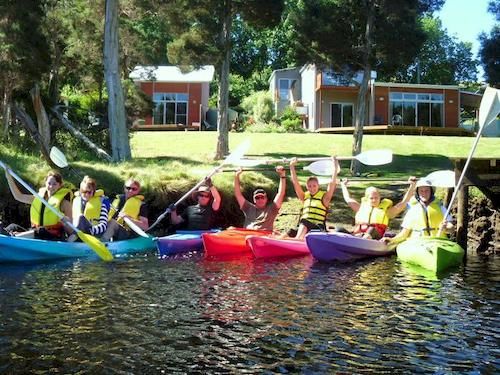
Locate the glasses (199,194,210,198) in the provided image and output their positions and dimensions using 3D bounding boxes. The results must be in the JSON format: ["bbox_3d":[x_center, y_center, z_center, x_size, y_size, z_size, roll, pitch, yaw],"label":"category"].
[{"bbox_3d":[-0.944,0.188,10.949,0.221,0.107,0.170,0,13,-4],"label":"glasses"}]

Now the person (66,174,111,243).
[{"bbox_3d":[-3.105,0.437,9.911,0.870,1.095,0.980,0,-1,37],"label":"person"}]

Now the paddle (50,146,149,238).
[{"bbox_3d":[-3.161,0.149,11.104,3.093,0.335,0.142,45,28,19],"label":"paddle"}]

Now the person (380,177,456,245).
[{"bbox_3d":[3.127,0.697,9.815,1.464,0.686,1.908,-17,21,21],"label":"person"}]

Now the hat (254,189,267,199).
[{"bbox_3d":[0.201,0.143,11.264,0.219,0.115,0.328,-2,-5,1],"label":"hat"}]

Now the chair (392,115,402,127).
[{"bbox_3d":[7.712,-3.461,27.808,0.481,0.567,1.569,4,14,14],"label":"chair"}]

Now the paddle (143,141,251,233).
[{"bbox_3d":[-1.282,0.029,12.965,4.415,0.491,0.274,-37,5,-12],"label":"paddle"}]

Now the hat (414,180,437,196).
[{"bbox_3d":[3.213,0.023,9.745,0.339,0.330,0.263,5,14,17],"label":"hat"}]

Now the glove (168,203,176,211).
[{"bbox_3d":[-1.594,0.428,10.834,0.134,0.146,0.295,2,13,5],"label":"glove"}]

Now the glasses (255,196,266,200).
[{"bbox_3d":[0.205,0.217,10.765,0.183,0.083,0.058,-1,14,-8],"label":"glasses"}]

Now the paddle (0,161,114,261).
[{"bbox_3d":[-3.748,0.515,10.106,0.118,2.666,0.234,-46,3,37],"label":"paddle"}]

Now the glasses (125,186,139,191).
[{"bbox_3d":[-2.291,0.031,10.316,0.232,0.090,0.074,-1,14,-7],"label":"glasses"}]

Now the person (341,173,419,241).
[{"bbox_3d":[2.447,0.429,10.169,1.162,0.989,1.462,4,-9,32],"label":"person"}]
